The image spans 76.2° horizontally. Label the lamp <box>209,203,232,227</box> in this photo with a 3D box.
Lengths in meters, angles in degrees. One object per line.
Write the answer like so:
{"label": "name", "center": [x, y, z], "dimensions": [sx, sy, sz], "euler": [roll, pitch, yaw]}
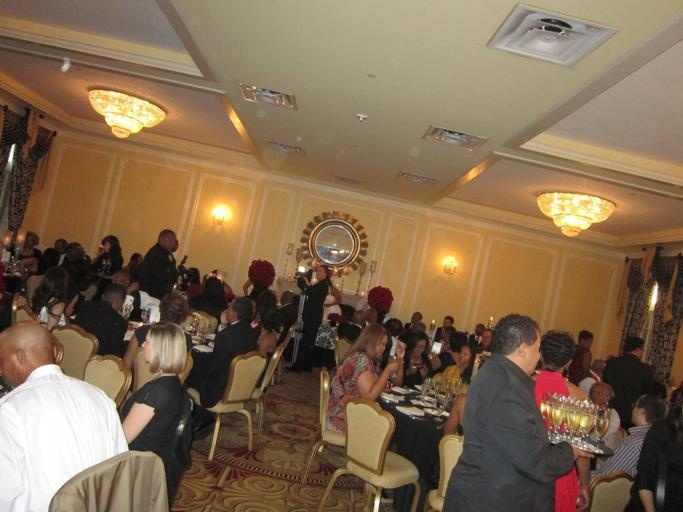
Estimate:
{"label": "lamp", "center": [-2.829, -0.995, 10.275], "dimensions": [0.498, 0.503, 0.324], "euler": [7, -5, -4]}

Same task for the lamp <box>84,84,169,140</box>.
{"label": "lamp", "center": [-3.526, -2.353, 7.194], "dimensions": [0.974, 0.510, 0.946], "euler": [12, -7, -44]}

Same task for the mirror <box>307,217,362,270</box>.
{"label": "mirror", "center": [-0.213, -0.310, 10.353], "dimensions": [1.159, 1.180, 0.092], "euler": [4, 3, 1]}

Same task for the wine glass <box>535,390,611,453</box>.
{"label": "wine glass", "center": [1.355, 0.947, 2.556], "dimensions": [0.385, 0.198, 0.525], "euler": [2, -11, 1]}
